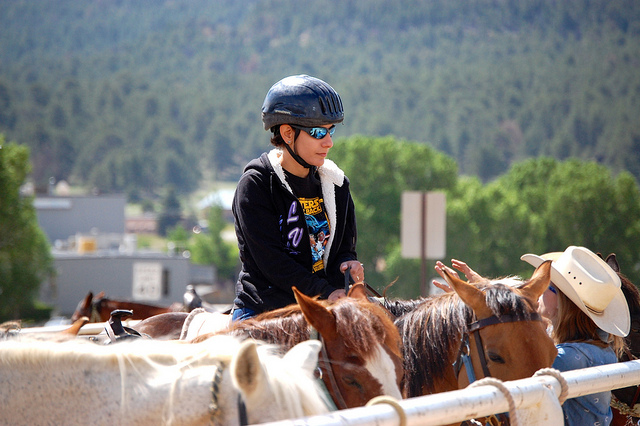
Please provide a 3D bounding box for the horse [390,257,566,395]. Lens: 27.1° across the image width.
[{"bbox_3d":[7.548,5.604,62.793,9.252,5.744,4.281,-16,-3,20],"label":"horse"}]
